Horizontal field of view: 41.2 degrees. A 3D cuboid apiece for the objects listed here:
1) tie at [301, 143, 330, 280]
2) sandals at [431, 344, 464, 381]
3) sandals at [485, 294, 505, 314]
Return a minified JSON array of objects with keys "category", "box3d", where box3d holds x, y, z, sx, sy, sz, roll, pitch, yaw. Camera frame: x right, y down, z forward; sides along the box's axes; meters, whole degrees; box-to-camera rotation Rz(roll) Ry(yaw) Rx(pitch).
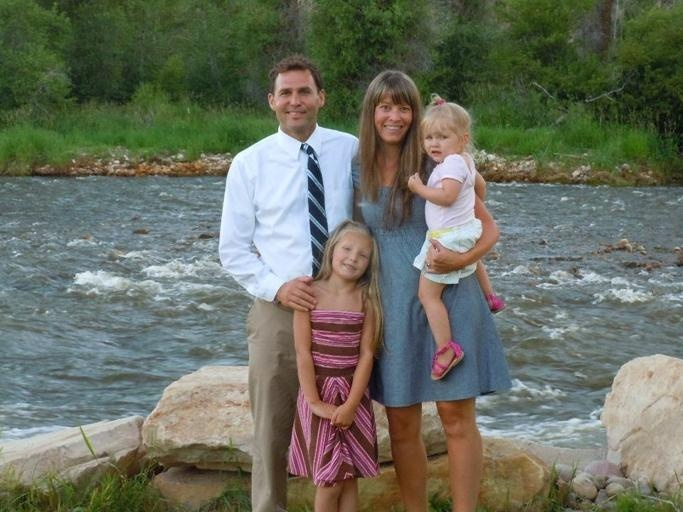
[{"category":"tie","box3d":[-0.250,-0.443,9.287,0.169,1.372,0.203,7,-6,-44]},{"category":"sandals","box3d":[1.005,1.063,8.973,0.238,0.406,0.159,45,15,25]},{"category":"sandals","box3d":[1.584,0.504,9.417,0.113,0.161,0.252,38,0,7]}]
